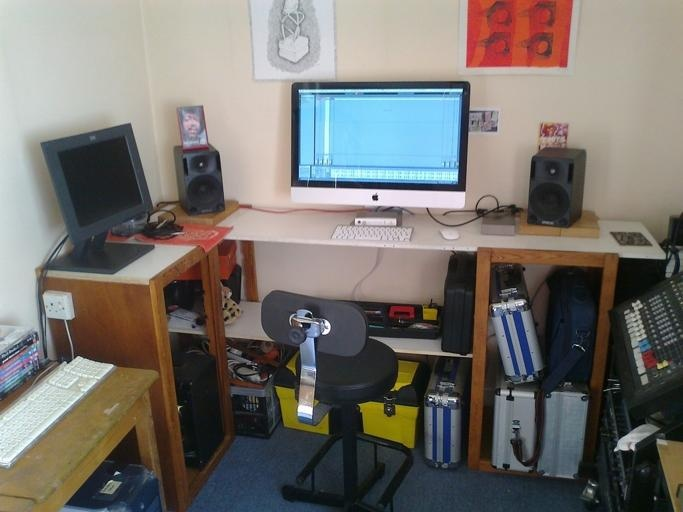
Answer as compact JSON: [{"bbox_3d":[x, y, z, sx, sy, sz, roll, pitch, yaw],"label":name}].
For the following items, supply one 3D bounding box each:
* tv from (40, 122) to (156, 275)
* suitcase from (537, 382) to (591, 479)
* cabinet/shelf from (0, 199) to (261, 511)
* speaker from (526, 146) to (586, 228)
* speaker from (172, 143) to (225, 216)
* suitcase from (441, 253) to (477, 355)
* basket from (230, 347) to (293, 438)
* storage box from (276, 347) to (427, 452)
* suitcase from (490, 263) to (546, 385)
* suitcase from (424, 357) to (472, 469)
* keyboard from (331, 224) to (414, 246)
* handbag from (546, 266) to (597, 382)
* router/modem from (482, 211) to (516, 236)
[{"bbox_3d":[-1.108,-0.252,2.551,0.323,0.592,0.590,4,19,14],"label":"tv"},{"bbox_3d":[1.126,0.918,2.823,0.244,0.242,0.433,-2,58,35],"label":"suitcase"},{"bbox_3d":[-0.941,0.436,2.475,0.406,1.060,1.129,2,27,7],"label":"cabinet/shelf"},{"bbox_3d":[1.034,-0.334,2.713,0.235,0.329,0.237,5,23,21],"label":"speaker"},{"bbox_3d":[-0.741,-0.413,3.011,0.189,0.334,0.234,-10,21,-15],"label":"speaker"},{"bbox_3d":[0.586,0.251,2.778,0.120,0.357,0.355,3,33,10],"label":"suitcase"},{"bbox_3d":[-0.464,0.769,3.232,0.252,0.317,0.327,4,24,15],"label":"basket"},{"bbox_3d":[0.078,0.704,3.261,0.811,0.445,0.535,5,33,8],"label":"storage box"},{"bbox_3d":[0.865,0.322,2.764,0.169,0.435,0.463,-8,29,18],"label":"suitcase"},{"bbox_3d":[0.550,0.825,2.910,0.162,0.377,0.447,3,25,13],"label":"suitcase"},{"bbox_3d":[0.153,-0.109,2.768,0.385,0.036,0.182,1,23,11],"label":"keyboard"},{"bbox_3d":[1.095,0.343,2.680,0.169,0.435,0.428,1,20,9],"label":"handbag"},{"bbox_3d":[0.758,-0.154,2.736,0.109,0.039,0.173,5,28,14],"label":"router/modem"}]
